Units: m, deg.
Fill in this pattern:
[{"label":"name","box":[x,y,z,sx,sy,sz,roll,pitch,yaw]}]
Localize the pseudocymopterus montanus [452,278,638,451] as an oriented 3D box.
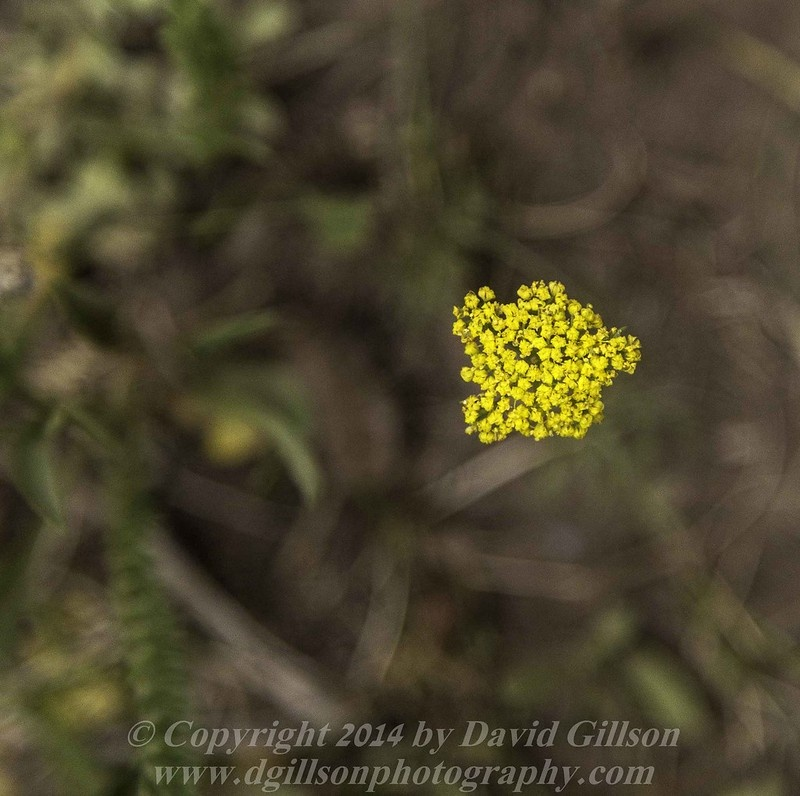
[{"label":"pseudocymopterus montanus","box":[0.560,-0.165,5.127,0.641,0.280,0.765,43,97,6]}]
